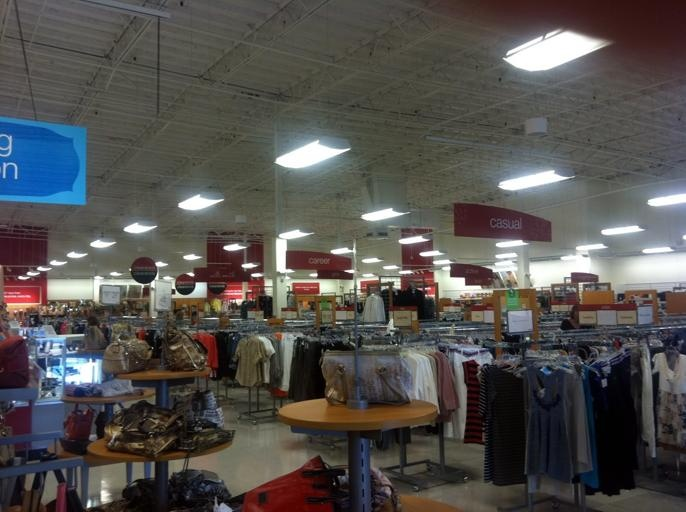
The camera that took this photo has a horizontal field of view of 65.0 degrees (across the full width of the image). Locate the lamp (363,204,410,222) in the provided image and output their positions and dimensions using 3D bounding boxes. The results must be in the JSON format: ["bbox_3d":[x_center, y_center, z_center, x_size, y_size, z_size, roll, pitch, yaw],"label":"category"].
[{"bbox_3d":[1.053,-1.084,13.483,0.705,0.219,1.270,-1,-5,-22],"label":"lamp"}]

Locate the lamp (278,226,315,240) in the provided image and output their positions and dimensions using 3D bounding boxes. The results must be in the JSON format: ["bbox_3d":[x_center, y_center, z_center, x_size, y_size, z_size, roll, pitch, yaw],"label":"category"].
[{"bbox_3d":[-1.522,-0.813,17.942,1.194,0.221,1.163,-8,-4,34],"label":"lamp"}]

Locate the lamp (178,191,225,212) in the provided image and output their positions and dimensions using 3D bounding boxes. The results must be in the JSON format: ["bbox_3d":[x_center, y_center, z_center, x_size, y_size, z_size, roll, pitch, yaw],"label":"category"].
[{"bbox_3d":[-3.466,-1.381,13.141,0.915,0.319,1.578,0,-1,-5],"label":"lamp"}]

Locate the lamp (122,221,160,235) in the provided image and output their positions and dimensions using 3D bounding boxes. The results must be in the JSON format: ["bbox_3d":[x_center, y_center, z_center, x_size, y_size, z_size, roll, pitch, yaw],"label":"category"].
[{"bbox_3d":[-6.490,-0.938,17.263,1.589,0.295,0.986,-6,-8,43],"label":"lamp"}]

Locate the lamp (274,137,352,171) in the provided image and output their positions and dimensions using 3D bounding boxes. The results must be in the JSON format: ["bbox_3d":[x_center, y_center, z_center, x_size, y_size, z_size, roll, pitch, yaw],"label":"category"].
[{"bbox_3d":[-0.442,-1.562,7.651,0.629,0.353,1.074,0,-5,-28],"label":"lamp"}]

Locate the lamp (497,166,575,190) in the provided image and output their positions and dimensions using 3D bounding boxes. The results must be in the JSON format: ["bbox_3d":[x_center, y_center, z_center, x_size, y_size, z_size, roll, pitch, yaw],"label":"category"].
[{"bbox_3d":[3.242,-1.319,8.967,0.532,0.235,1.217,-1,-5,-25],"label":"lamp"}]
